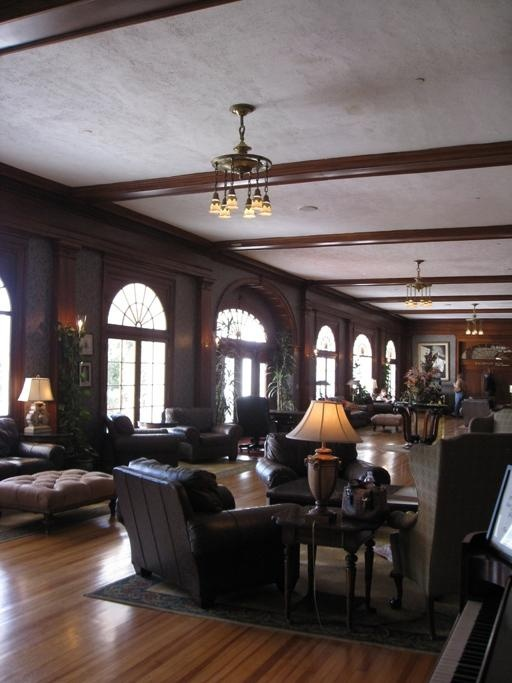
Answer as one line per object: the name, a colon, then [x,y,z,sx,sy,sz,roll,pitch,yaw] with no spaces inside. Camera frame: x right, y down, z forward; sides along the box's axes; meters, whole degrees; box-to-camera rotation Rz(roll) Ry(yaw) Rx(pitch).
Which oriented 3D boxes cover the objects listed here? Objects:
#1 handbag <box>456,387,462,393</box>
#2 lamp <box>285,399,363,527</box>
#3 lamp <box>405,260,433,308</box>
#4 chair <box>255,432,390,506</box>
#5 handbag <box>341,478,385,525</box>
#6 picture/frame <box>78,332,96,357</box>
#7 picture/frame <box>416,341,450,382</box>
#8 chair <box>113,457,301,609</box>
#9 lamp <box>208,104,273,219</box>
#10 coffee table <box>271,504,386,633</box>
handbag: [7.535,1.776,20.325,0.146,0.162,0.184,2,-20,17]
lamp: [0.391,0.689,3.409,0.584,0.808,0.591,3,-7,3]
lamp: [3.512,-1.291,11.717,0.500,0.899,0.514,-8,9,-23]
chair: [0.498,1.120,4.774,0.916,0.773,0.842,1,-12,1]
handbag: [0.613,0.913,3.101,0.198,0.187,0.194,-4,-10,28]
picture/frame: [-2.252,0.036,7.301,0.047,0.305,0.341,-2,-2,18]
picture/frame: [7.312,0.797,22.331,1.166,1.575,0.356,-1,-5,15]
chair: [-0.290,0.969,3.468,0.800,0.724,1.131,1,-4,-38]
lamp: [-0.108,-1.439,4.260,0.443,0.758,0.484,3,9,19]
coffee table: [0.381,1.207,3.212,0.574,0.596,0.671,-2,-7,23]
